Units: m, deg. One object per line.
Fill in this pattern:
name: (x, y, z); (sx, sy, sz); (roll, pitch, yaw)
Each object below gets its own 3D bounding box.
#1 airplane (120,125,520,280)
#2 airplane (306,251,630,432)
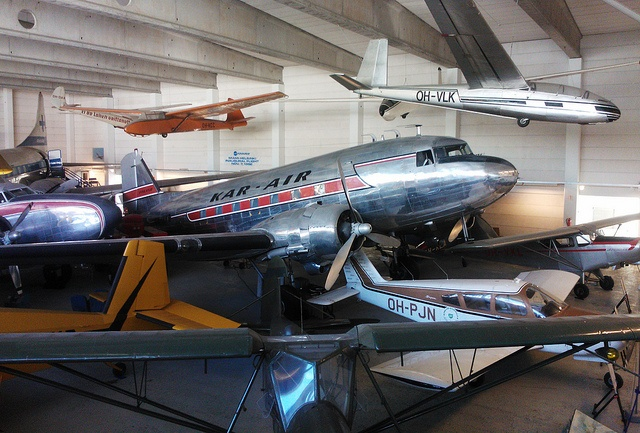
airplane: (1.027, -1.035, 17.233); (6.358, 1.994, 6.009); (-7, 16, 19)
airplane: (2.903, 2.532, 14.427); (4.473, 1.461, 4.453); (1, 7, 38)
